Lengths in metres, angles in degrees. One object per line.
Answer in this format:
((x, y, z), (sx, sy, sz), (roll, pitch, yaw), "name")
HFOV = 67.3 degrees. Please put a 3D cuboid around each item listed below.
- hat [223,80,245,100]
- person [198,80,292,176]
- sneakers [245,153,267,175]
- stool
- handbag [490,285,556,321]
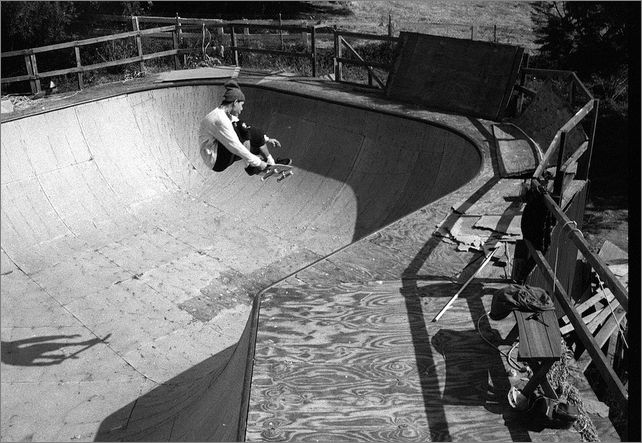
((-1.289, -1.837, 6.820), (0.339, 0.319, 0.256), (-5, 25, -21), "hat")
((-1.206, -1.337, 7.002), (1.201, 1.328, 0.844), (5, 16, 2), "person")
((-0.954, -0.835, 7.011), (0.298, 0.218, 0.177), (-41, 45, -2), "sneakers")
((1.639, 1.000, 3.699), (0.315, 0.401, 0.784), (-8, 39, 21), "stool")
((1.653, 0.679, 3.937), (0.385, 0.154, 0.291), (3, 16, -18), "handbag")
